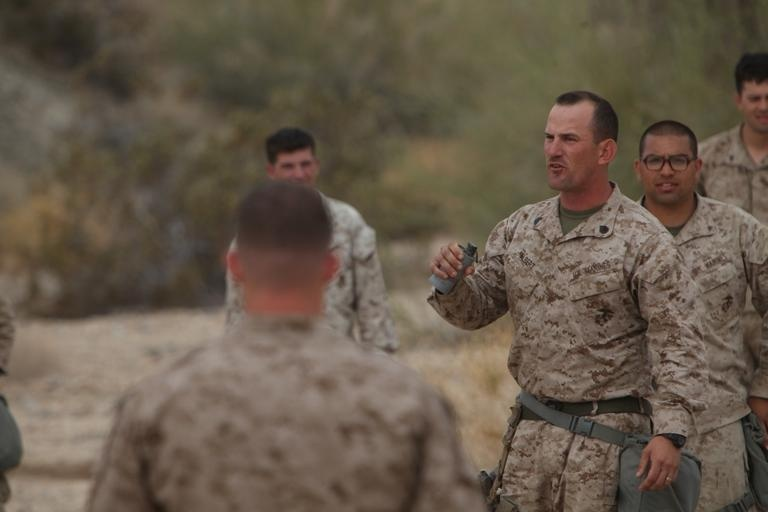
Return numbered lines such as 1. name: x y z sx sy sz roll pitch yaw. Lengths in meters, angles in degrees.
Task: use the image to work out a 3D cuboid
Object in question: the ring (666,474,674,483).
1. ring: 2.088 1.626 12.205 0.042 0.054 0.015 6 4 -9
